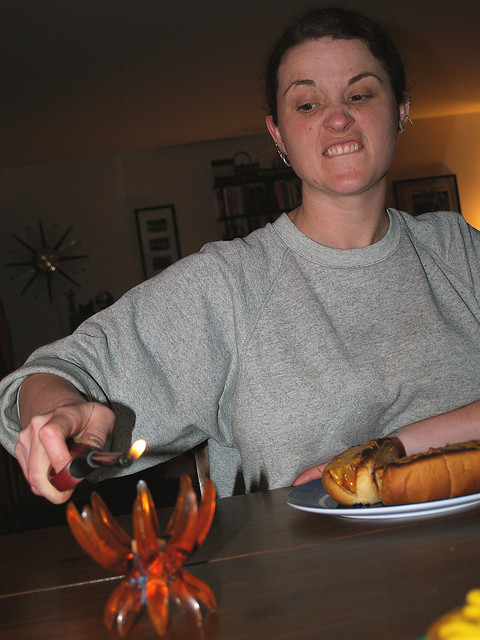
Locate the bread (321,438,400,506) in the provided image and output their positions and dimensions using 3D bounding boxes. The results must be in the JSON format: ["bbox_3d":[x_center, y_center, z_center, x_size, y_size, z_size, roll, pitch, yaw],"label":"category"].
[{"bbox_3d":[0.137,0.165,0.635,0.076,0.064,0.075,2,-1,-30],"label":"bread"}]

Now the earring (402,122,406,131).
[{"bbox_3d":[0.349,-0.412,1.184,0.006,0.019,0.005,-2,-12,14],"label":"earring"}]
